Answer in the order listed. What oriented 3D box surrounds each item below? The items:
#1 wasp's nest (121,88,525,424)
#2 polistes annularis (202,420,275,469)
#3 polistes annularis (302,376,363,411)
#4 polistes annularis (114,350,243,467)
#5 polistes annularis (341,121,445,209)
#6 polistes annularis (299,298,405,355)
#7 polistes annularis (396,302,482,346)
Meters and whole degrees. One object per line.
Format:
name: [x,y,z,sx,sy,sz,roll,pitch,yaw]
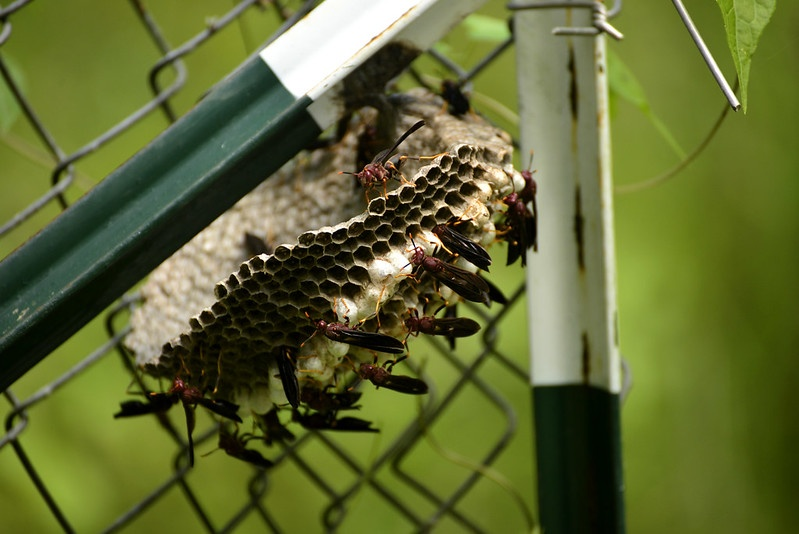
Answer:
wasp's nest: [-0.155,-0.020,1.557,0.283,0.620,0.510,44,2,-19]
polistes annularis: [-0.265,0.299,1.558,0.084,0.082,0.025,25,-34,10]
polistes annularis: [-0.120,0.200,1.514,0.071,0.034,0.066,-7,25,-9]
polistes annularis: [-0.327,0.218,1.513,0.186,0.070,0.195,9,-6,-3]
polistes annularis: [-0.013,-0.154,1.487,0.163,0.074,0.162,-25,-3,-18]
polistes annularis: [-0.063,0.097,1.409,0.099,0.033,0.078,13,-49,-9]
polistes annularis: [0.064,0.088,1.452,0.077,0.031,0.061,4,-61,-13]
